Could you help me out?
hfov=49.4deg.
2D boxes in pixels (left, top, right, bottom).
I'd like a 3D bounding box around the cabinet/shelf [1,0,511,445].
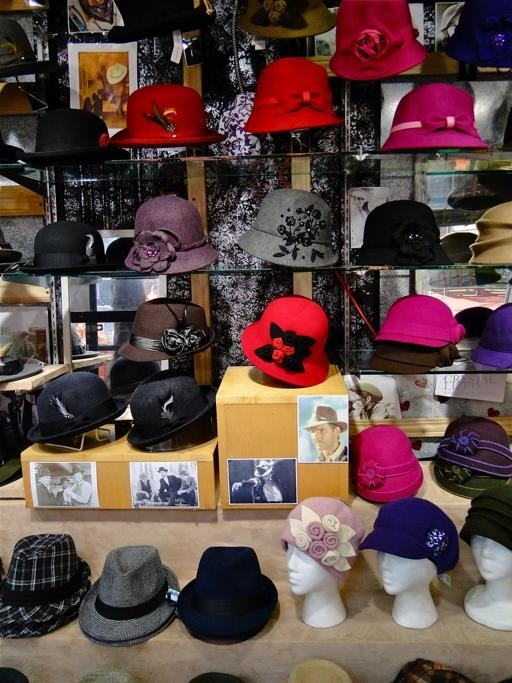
[{"bbox_3d":[0.038,-0.393,1.669,1.606,1.331,0.499,-1,5,1],"label":"cabinet/shelf"}]
